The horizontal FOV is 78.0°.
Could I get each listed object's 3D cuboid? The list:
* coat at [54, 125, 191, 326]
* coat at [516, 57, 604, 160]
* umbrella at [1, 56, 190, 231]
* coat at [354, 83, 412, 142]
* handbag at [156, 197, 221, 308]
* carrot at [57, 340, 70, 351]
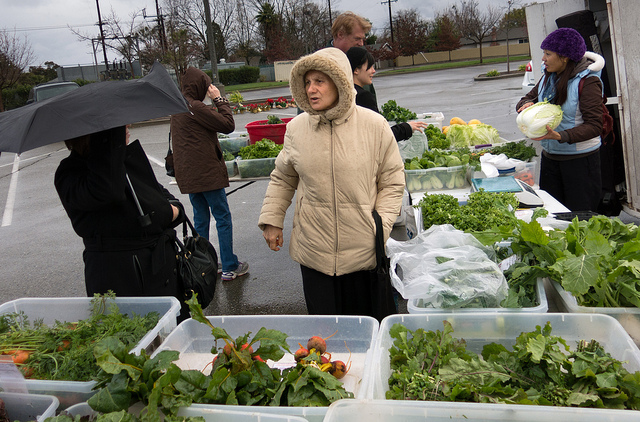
[{"bbox_3d":[-1.449,0.187,3.007,0.793,1.588,0.406,-13,14,-27],"label":"coat"},{"bbox_3d":[2.925,-1.147,4.520,0.585,1.128,0.637,-1,14,23],"label":"coat"},{"bbox_3d":[-1.597,-0.744,2.874,1.184,0.750,1.263,-27,40,-21],"label":"umbrella"},{"bbox_3d":[0.612,-1.003,4.059,0.629,0.309,0.604,3,10,-3],"label":"coat"},{"bbox_3d":[-1.141,0.355,3.310,0.392,0.894,0.659,-6,22,2],"label":"handbag"},{"bbox_3d":[-1.542,0.813,2.368,0.050,0.040,0.028,-37,-25,4],"label":"carrot"}]
